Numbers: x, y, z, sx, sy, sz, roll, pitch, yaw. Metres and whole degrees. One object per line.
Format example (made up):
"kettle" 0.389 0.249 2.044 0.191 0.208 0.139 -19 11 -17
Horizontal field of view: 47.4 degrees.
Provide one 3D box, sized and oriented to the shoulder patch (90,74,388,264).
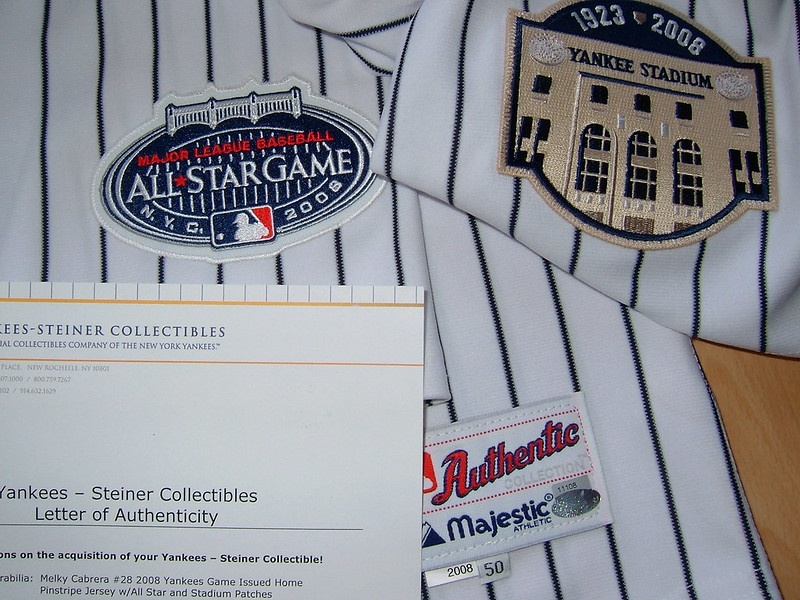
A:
"shoulder patch" -0.129 -0.102 0.751 0.182 0.103 0.007 -2 -12 -1
